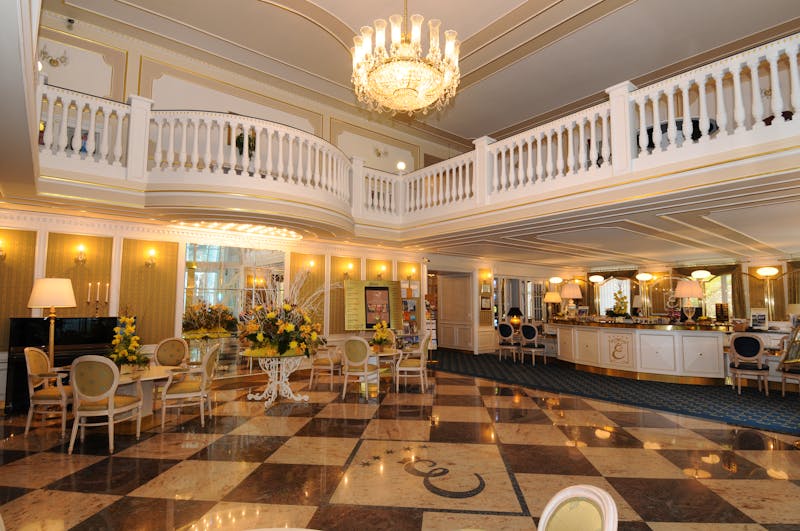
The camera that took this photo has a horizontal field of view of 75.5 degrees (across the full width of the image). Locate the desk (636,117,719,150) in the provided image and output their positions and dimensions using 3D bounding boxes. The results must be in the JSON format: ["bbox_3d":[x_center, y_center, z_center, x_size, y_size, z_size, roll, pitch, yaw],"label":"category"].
[{"bbox_3d":[4.685,-2.214,8.691,1.300,0.577,1.146,-7,10,-42],"label":"desk"}]

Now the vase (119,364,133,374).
[{"bbox_3d":[-4.461,1.685,8.417,0.164,0.120,0.157,-3,8,-32],"label":"vase"}]

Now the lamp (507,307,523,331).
[{"bbox_3d":[3.629,1.635,15.990,0.656,0.685,0.621,0,-2,-16],"label":"lamp"}]

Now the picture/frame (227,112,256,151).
[{"bbox_3d":[-3.116,-2.554,10.147,0.477,0.758,1.923,-2,8,-16],"label":"picture/frame"}]

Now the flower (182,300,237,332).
[{"bbox_3d":[-4.184,1.131,11.358,0.839,0.484,0.749,2,0,9],"label":"flower"}]

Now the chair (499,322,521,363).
[{"bbox_3d":[3.139,2.133,14.889,0.578,1.155,1.400,2,8,13],"label":"chair"}]

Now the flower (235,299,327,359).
[{"bbox_3d":[-2.269,1.200,9.791,1.233,0.694,1.189,4,4,-16],"label":"flower"}]

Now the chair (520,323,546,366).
[{"bbox_3d":[3.676,2.090,14.265,0.702,1.227,1.715,2,8,15],"label":"chair"}]

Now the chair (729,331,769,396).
[{"bbox_3d":[7.112,1.971,10.540,0.742,1.221,1.170,5,9,32],"label":"chair"}]

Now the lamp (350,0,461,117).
[{"bbox_3d":[0.084,-3.780,9.287,1.658,2.377,3.649,0,8,1],"label":"lamp"}]

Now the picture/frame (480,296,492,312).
[{"bbox_3d":[2.612,1.171,15.899,0.508,0.403,0.049,2,-5,-40],"label":"picture/frame"}]

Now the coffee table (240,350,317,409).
[{"bbox_3d":[-2.425,2.218,10.206,1.160,0.713,1.105,1,-9,-3],"label":"coffee table"}]

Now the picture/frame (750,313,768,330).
[{"bbox_3d":[8.245,1.278,11.892,0.303,0.273,0.747,5,9,34],"label":"picture/frame"}]
